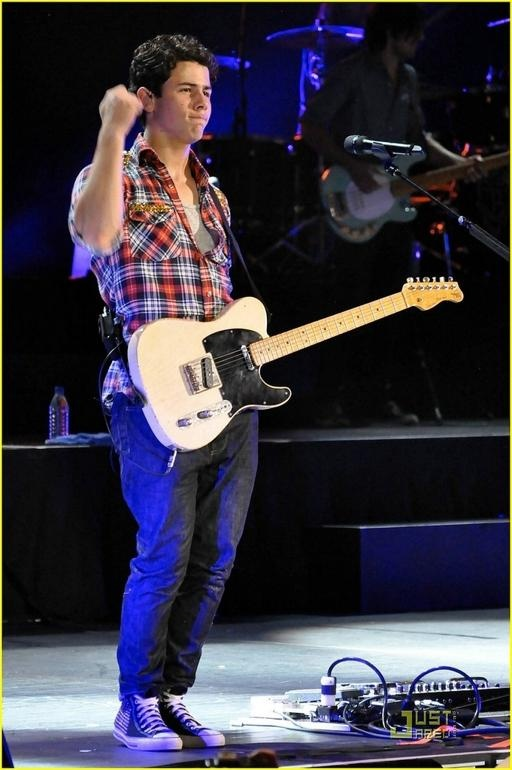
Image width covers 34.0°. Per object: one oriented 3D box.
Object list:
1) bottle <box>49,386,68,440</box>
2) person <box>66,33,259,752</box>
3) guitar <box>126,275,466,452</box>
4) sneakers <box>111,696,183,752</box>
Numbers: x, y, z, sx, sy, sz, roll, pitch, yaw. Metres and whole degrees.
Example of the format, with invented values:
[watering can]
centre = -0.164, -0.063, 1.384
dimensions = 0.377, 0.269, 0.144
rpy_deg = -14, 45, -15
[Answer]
[bottle]
centre = -0.972, 0.132, 4.138
dimensions = 0.082, 0.236, 0.195
rpy_deg = 1, 6, -17
[person]
centre = -0.224, 0.013, 2.143
dimensions = 0.752, 1.461, 0.763
rpy_deg = 0, 1, -13
[guitar]
centre = 0.108, -0.116, 2.059
dimensions = 0.883, 0.282, 0.107
rpy_deg = -22, 5, -19
[sneakers]
centre = -0.253, 0.768, 1.895
dimensions = 0.077, 0.090, 0.216
rpy_deg = 9, -16, -28
